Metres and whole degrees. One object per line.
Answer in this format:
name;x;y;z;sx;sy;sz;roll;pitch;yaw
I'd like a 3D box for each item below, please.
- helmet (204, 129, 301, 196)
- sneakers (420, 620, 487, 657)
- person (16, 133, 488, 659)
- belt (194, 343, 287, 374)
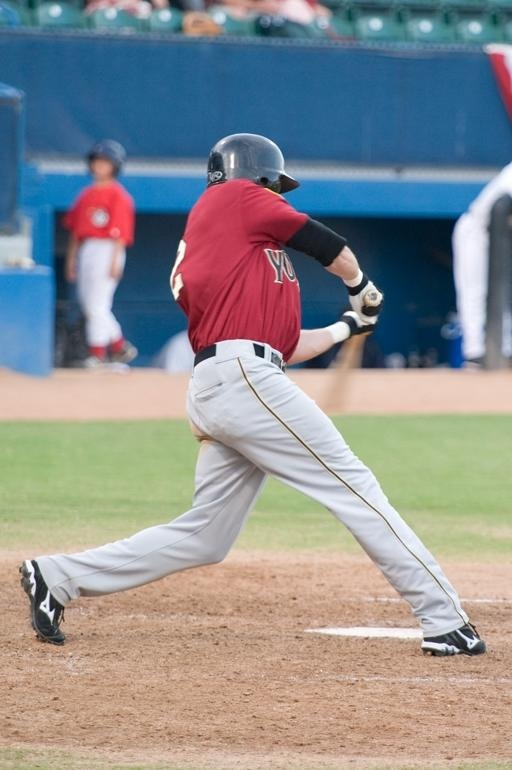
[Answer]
helmet;-0.004;-0.509;2.424;0.195;0.081;0.130;-2;2;-33
sneakers;0.431;0.563;2.354;0.177;0.073;0.058;4;-8;-24
person;0.031;0.024;2.373;1.022;1.186;0.380;4;3;10
belt;-0.035;-0.064;2.268;0.195;0.059;0.146;2;2;0
